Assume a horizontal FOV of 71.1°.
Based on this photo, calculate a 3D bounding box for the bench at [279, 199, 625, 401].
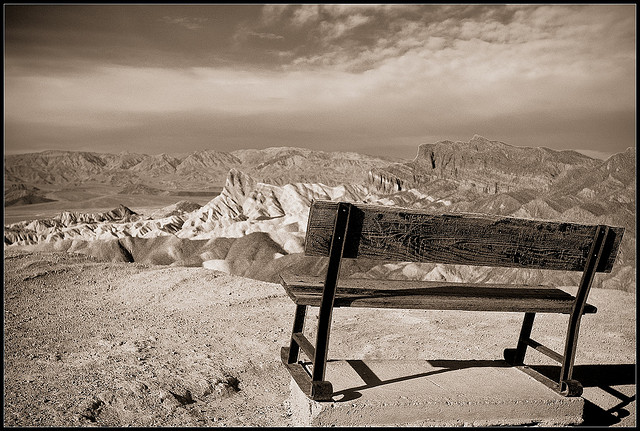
[{"bbox_3d":[1.031,0.661,3.630,2.520,1.579,0.521,1,10,-8],"label":"bench"}]
